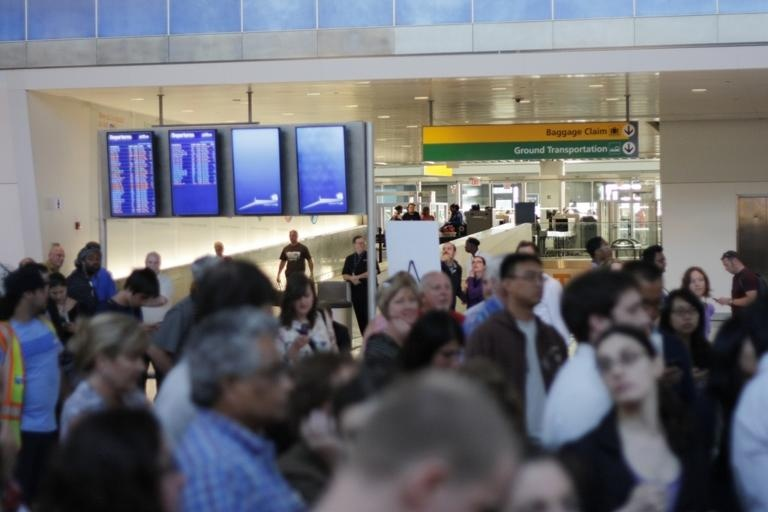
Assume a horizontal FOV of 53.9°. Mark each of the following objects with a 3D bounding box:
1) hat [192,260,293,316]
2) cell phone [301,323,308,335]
[{"bbox_3d":[-0.836,0.185,4.262,0.310,0.374,0.389,-8,-7,-31],"label":"hat"},{"bbox_3d":[-0.594,0.543,5.597,0.069,0.120,0.064,1,-8,-6],"label":"cell phone"}]
